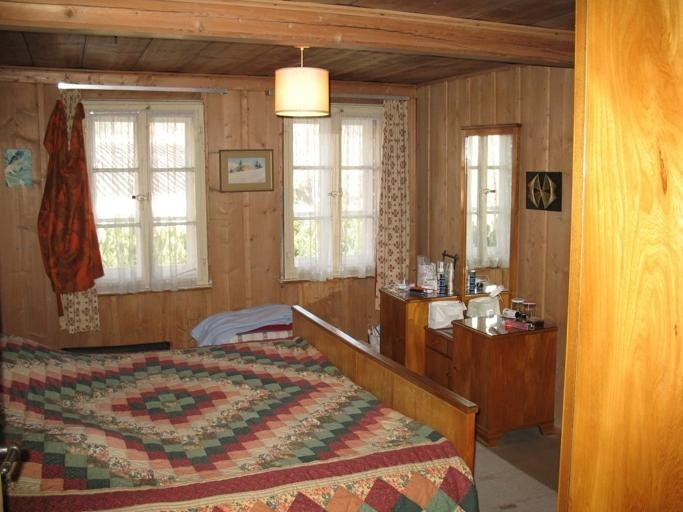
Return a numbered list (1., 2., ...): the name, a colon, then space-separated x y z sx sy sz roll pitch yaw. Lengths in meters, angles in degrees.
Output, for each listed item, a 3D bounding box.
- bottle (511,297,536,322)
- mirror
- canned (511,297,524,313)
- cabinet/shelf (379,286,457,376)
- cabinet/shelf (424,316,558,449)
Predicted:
1. bottle: 1.493 0.444 4.559 0.234 0.204 0.122 0 -1 2
2. mirror: 1.371 -0.413 5.279 0.250 1.658 0.963 -2 11 -17
3. canned: 1.446 0.429 4.643 0.106 0.105 0.101 -1 2 -14
4. cabinet/shelf: 0.728 0.692 5.055 0.551 0.943 0.770 -4 9 -25
5. cabinet/shelf: 1.185 1.038 4.839 0.869 0.884 1.067 2 0 -39
